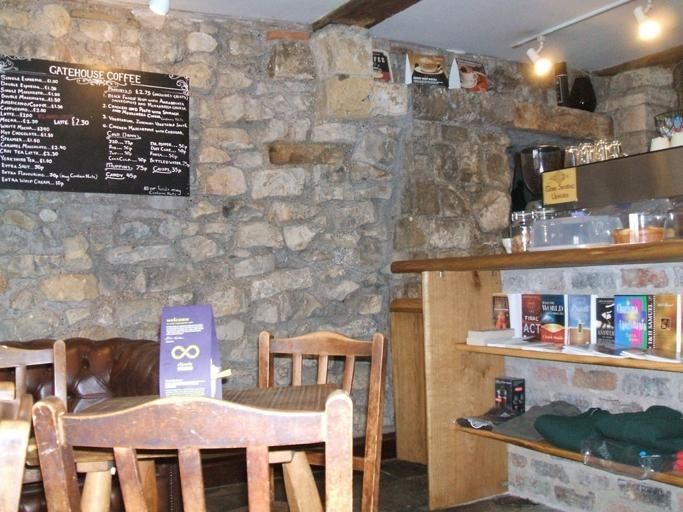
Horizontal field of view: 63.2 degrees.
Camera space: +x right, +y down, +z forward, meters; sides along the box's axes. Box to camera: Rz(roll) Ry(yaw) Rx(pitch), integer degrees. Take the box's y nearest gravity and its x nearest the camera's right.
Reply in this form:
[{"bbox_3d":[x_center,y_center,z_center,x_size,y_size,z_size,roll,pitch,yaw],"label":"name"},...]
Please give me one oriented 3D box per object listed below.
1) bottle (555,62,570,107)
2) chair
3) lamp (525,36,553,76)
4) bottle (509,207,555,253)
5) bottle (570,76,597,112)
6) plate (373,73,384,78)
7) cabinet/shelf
[{"bbox_3d":[1.929,-1.493,4.881,0.094,0.405,0.178,-3,-1,15],"label":"bottle"},{"bbox_3d":[-0.677,0.646,2.626,2.089,0.605,1.164,-3,-1,20],"label":"chair"},{"bbox_3d":[1.457,-1.481,4.129,0.118,0.262,0.141,-15,25,-37],"label":"lamp"},{"bbox_3d":[1.007,-0.135,2.978,0.076,0.230,0.265,-2,-1,-36],"label":"bottle"},{"bbox_3d":[2.153,-1.436,4.950,0.275,0.335,0.112,-2,-1,-26],"label":"bottle"},{"bbox_3d":[0.275,-1.343,4.132,0.077,0.023,0.073,4,14,16],"label":"plate"},{"bbox_3d":[1.046,0.658,2.922,1.549,1.186,0.681,-4,-5,42],"label":"cabinet/shelf"}]
